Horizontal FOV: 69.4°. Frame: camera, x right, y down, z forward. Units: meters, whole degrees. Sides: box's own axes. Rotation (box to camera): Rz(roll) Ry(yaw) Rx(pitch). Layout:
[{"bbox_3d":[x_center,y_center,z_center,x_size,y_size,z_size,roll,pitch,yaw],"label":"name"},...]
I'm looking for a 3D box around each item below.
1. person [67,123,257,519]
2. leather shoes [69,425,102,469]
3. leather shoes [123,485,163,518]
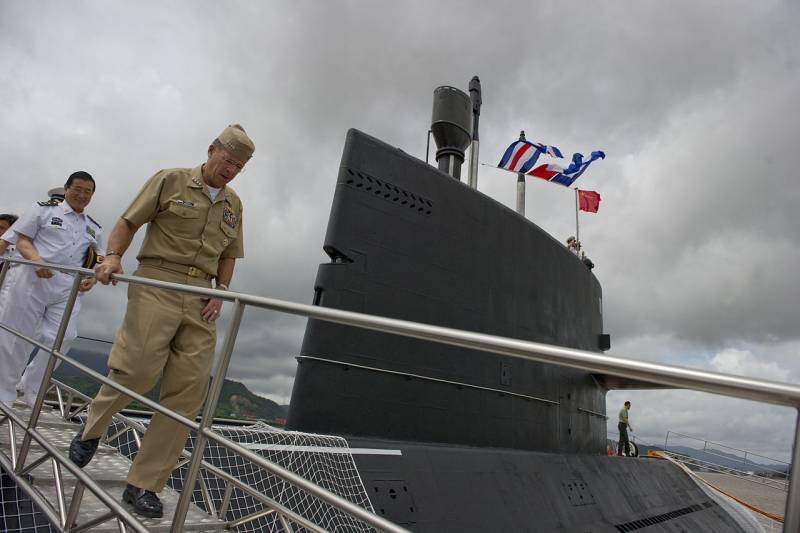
[{"bbox_3d":[-1.252,0.206,3.020,0.683,1.986,0.680,14,-22,-16],"label":"person"},{"bbox_3d":[-1.627,0.925,2.935,0.094,0.113,0.272,15,-14,-8],"label":"leather shoes"},{"bbox_3d":[-1.248,1.123,2.845,0.239,0.117,0.101,9,-5,35],"label":"leather shoes"}]
